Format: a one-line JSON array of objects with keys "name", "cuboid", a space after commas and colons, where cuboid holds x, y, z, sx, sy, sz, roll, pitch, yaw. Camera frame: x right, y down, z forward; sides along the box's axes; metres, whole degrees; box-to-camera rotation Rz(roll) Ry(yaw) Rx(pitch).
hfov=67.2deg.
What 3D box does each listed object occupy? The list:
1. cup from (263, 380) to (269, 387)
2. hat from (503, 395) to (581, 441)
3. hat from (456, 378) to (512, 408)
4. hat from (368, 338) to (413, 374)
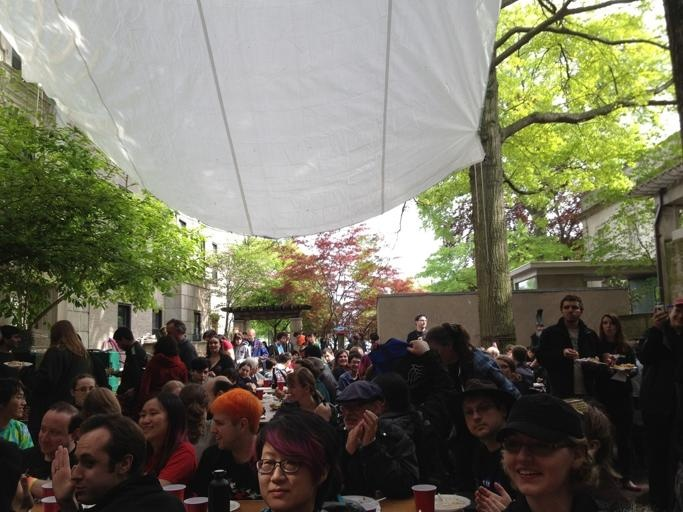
[{"name": "cup", "cuboid": [-1.784, 2.996, 11.973, 0.141, 0.119, 0.157, -1, -16, 3]}, {"name": "hat", "cuboid": [1.018, 0.834, 2.642, 0.409, 0.210, 0.182, 0, -7, -5]}, {"name": "hat", "cuboid": [1.137, 1.100, 4.101, 0.373, 0.161, 0.483, -1, -8, 4]}, {"name": "hat", "cuboid": [0.490, 1.019, 5.176, 0.356, 0.365, 0.152, -7, 11, -23]}]
